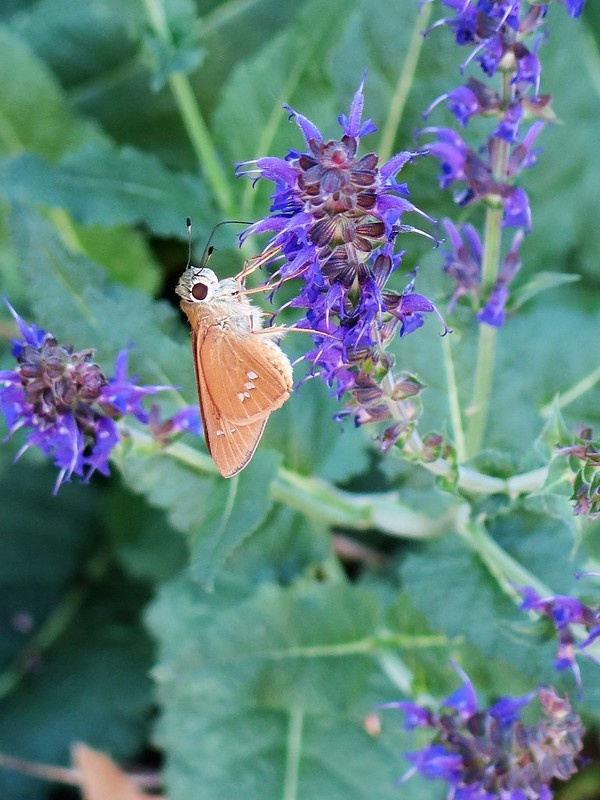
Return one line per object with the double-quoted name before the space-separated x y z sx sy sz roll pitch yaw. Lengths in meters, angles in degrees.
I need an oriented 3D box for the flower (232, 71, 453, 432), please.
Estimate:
"flower" 0.059 -0.159 1.064 0.273 0.492 0.270 -5 47 -13
